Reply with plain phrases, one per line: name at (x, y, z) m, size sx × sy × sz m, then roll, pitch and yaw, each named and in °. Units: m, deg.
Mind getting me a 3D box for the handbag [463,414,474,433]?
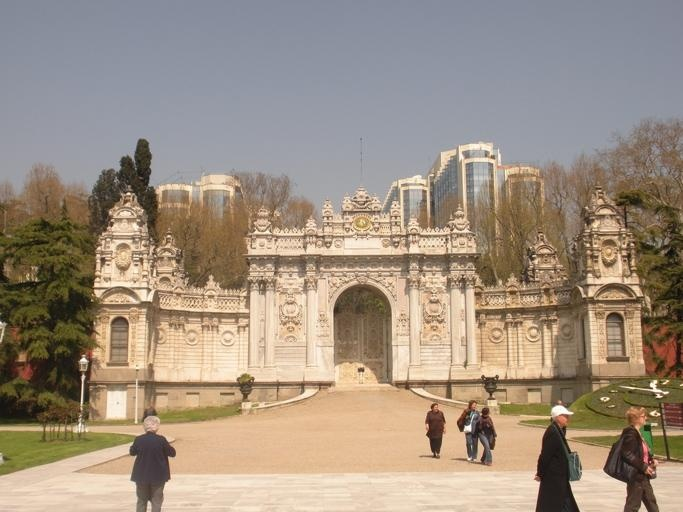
handbag at (4.996, 6.678, 36.213) m, size 0.263 × 0.680 × 0.385 m, roll 31°, pitch -27°, yaw -19°
